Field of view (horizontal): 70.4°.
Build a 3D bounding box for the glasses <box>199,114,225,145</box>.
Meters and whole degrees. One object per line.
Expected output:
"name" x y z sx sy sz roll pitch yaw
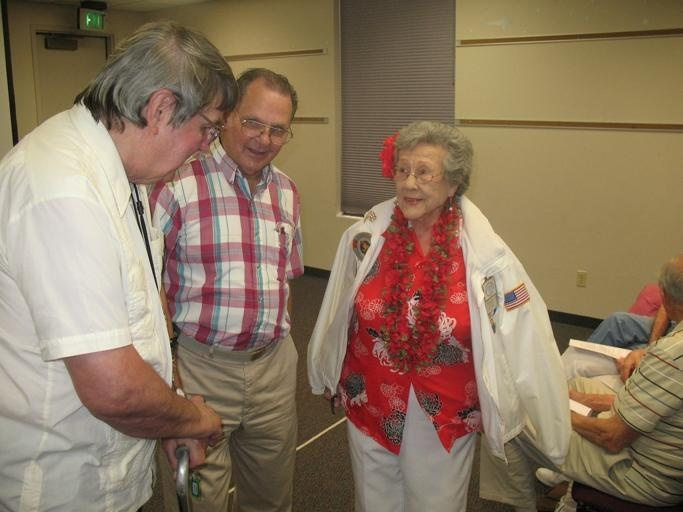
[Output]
"glasses" -0.327 -0.323 1.228 0.052 0.019 0.051 34 3 -1
